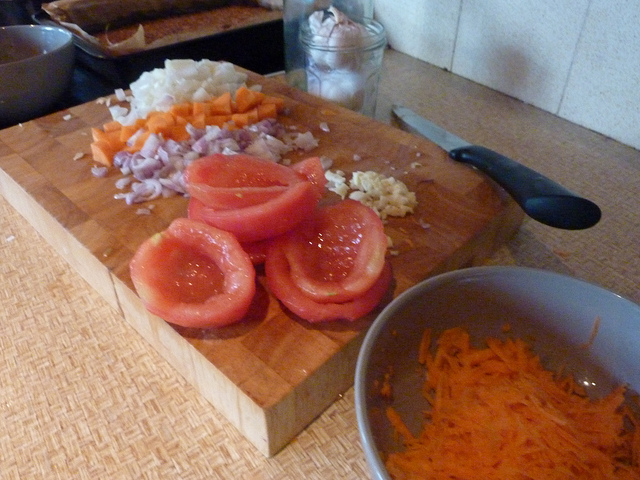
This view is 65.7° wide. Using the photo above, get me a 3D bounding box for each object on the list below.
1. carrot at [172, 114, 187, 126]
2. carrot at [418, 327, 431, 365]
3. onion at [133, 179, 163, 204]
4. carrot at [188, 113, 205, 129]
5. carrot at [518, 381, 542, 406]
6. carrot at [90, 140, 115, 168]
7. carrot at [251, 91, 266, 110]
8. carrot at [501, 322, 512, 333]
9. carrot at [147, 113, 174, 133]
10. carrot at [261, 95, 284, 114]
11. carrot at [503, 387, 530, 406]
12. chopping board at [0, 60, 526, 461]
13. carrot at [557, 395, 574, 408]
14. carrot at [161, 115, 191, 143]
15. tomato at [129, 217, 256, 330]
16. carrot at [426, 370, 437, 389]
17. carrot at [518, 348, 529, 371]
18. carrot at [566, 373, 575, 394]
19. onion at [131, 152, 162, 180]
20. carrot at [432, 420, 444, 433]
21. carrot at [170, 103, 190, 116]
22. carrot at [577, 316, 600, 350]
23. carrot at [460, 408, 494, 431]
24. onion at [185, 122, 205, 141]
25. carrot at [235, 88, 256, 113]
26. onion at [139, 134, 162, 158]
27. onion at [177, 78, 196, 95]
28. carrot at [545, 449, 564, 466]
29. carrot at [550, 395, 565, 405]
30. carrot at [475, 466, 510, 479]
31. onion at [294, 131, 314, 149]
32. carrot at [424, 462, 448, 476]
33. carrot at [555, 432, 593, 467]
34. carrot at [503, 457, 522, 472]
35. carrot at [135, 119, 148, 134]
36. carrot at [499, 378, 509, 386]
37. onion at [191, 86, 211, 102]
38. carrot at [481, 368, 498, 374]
[{"bbox_3d":[-0.307,-0.259,1.087,0.027,0.008,0.027,6,47,4],"label":"carrot"},{"bbox_3d":[0.141,0.143,0.676,0.014,0.004,0.052,18,81,-26],"label":"carrot"},{"bbox_3d":[-0.324,-0.090,0.951,0.049,0.016,0.038,-40,75,-12],"label":"onion"},{"bbox_3d":[-0.269,-0.264,1.103,0.037,0.037,0.037,0,64,-3],"label":"carrot"},{"bbox_3d":[0.274,0.201,0.650,0.015,0.007,0.026,9,36,-42],"label":"carrot"},{"bbox_3d":[-0.441,-0.179,1.041,0.044,0.049,0.063,-4,27,-17],"label":"carrot"},{"bbox_3d":[-0.140,-0.328,1.167,0.011,0.041,0.040,26,98,14],"label":"carrot"},{"bbox_3d":[0.262,0.124,0.693,0.012,0.003,0.011,-10,84,-3],"label":"carrot"},{"bbox_3d":[-0.343,-0.256,1.089,0.054,0.022,0.041,-18,57,-9],"label":"carrot"},{"bbox_3d":[-0.112,-0.328,1.186,0.045,0.034,0.045,-14,32,-31],"label":"carrot"},{"bbox_3d":[0.254,0.204,0.646,0.033,0.004,0.022,-2,45,6],"label":"carrot"},{"bbox_3d":[0.013,-0.043,0.848,0.633,0.122,0.853,-28,44,-35],"label":"chopping board"},{"bbox_3d":[0.324,0.213,0.654,0.014,0.014,0.003,-11,83,-16],"label":"carrot"},{"bbox_3d":[-0.317,-0.235,1.081,0.060,0.014,0.058,-2,75,-5],"label":"carrot"},{"bbox_3d":[-0.186,0.059,0.732,0.182,0.067,0.156,41,62,19],"label":"tomato"},{"bbox_3d":[0.150,0.188,0.665,0.016,0.005,0.018,0,48,-1],"label":"carrot"},{"bbox_3d":[0.282,0.164,0.685,0.006,0.022,0.022,-21,48,43],"label":"carrot"},{"bbox_3d":[0.339,0.192,0.669,0.006,0.016,0.021,14,75,-20],"label":"carrot"},{"bbox_3d":[-0.358,-0.144,1.026,0.055,0.038,0.049,25,37,22],"label":"onion"},{"bbox_3d":[0.152,0.237,0.626,0.010,0.003,0.010,15,32,12],"label":"carrot"},{"bbox_3d":[-0.309,-0.288,1.104,0.045,0.031,0.025,-3,19,-17],"label":"carrot"},{"bbox_3d":[0.358,0.128,0.661,0.010,0.056,0.007,7,15,-9],"label":"carrot"},{"bbox_3d":[0.200,0.228,0.627,0.048,0.009,0.013,30,91,18],"label":"carrot"},{"bbox_3d":[-0.273,-0.232,1.083,0.026,0.044,0.010,-35,21,-10],"label":"onion"},{"bbox_3d":[-0.172,-0.319,1.139,0.040,0.051,0.052,22,89,-1],"label":"carrot"},{"bbox_3d":[-0.353,-0.195,1.039,0.032,0.019,0.053,31,79,-12],"label":"onion"},{"bbox_3d":[-0.307,-0.350,1.142,0.028,0.013,0.041,41,58,-7],"label":"onion"},{"bbox_3d":[0.284,0.263,0.602,0.009,0.007,0.022,-36,51,-25],"label":"carrot"},{"bbox_3d":[0.313,0.210,0.653,0.019,0.005,0.007,19,51,24],"label":"carrot"},{"bbox_3d":[0.203,0.275,0.589,0.018,0.005,0.018,-9,29,-41],"label":"carrot"},{"bbox_3d":[-0.033,-0.215,1.074,0.032,0.014,0.041,40,84,10],"label":"onion"},{"bbox_3d":[0.133,0.274,0.590,0.015,0.003,0.014,5,22,-11],"label":"carrot"},{"bbox_3d":[0.315,0.260,0.608,0.061,0.015,0.015,37,86,26],"label":"carrot"},{"bbox_3d":[0.230,0.271,0.593,0.019,0.003,0.018,-34,50,-24],"label":"carrot"},{"bbox_3d":[-0.390,-0.252,1.088,0.035,0.009,0.032,19,59,-35],"label":"carrot"},{"bbox_3d":[0.245,0.189,0.661,0.005,0.001,0.013,-24,47,-16],"label":"carrot"},{"bbox_3d":[-0.265,-0.333,1.136,0.038,0.035,0.010,7,10,-42],"label":"onion"},{"bbox_3d":[0.232,0.178,0.674,0.010,0.002,0.009,-6,23,-9],"label":"carrot"}]
